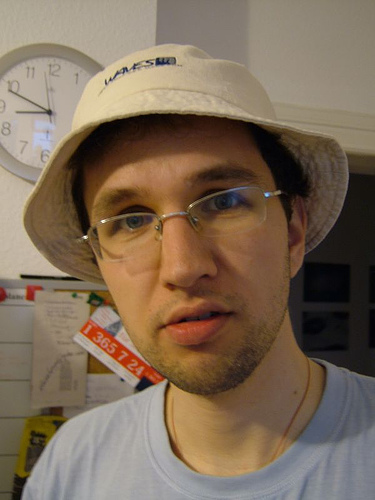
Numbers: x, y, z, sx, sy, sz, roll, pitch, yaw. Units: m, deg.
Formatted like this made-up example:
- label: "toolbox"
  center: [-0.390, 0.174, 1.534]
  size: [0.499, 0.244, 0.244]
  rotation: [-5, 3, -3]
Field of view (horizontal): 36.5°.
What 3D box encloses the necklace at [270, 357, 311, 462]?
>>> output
- label: "necklace"
  center: [0.224, 0.299, 1.084]
  size: [0.005, 0.063, 0.190]
  rotation: [4, 56, 45]
